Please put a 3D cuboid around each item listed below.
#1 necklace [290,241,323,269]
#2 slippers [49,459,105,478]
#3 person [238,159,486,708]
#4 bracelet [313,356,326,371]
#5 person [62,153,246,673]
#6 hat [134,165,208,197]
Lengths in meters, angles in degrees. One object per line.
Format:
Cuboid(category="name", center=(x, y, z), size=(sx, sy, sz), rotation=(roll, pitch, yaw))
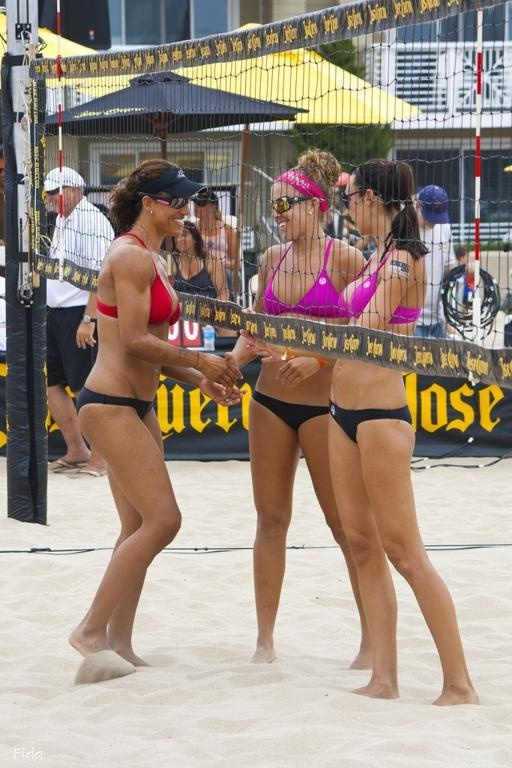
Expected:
Cuboid(category="necklace", center=(0.177, -0.487, 4.064), size=(0.084, 0.127, 0.136), rotation=(-5, -2, -36))
Cuboid(category="slippers", center=(-1.332, 0.624, 7.930), size=(0.420, 0.120, 0.166), rotation=(3, 0, 2))
Cuboid(category="person", center=(0.448, 0.163, 3.538), size=(0.343, 1.776, 0.518), rotation=(-1, 1, -32))
Cuboid(category="bracelet", center=(0.230, -0.078, 3.912), size=(0.048, 0.040, 0.049), rotation=(7, 0, -13))
Cuboid(category="person", center=(-0.374, 0.119, 3.815), size=(0.562, 1.857, 0.498), rotation=(0, 1, 9))
Cuboid(category="hat", center=(-0.300, -0.707, 3.799), size=(0.180, 0.069, 0.113), rotation=(-1, 3, 14))
